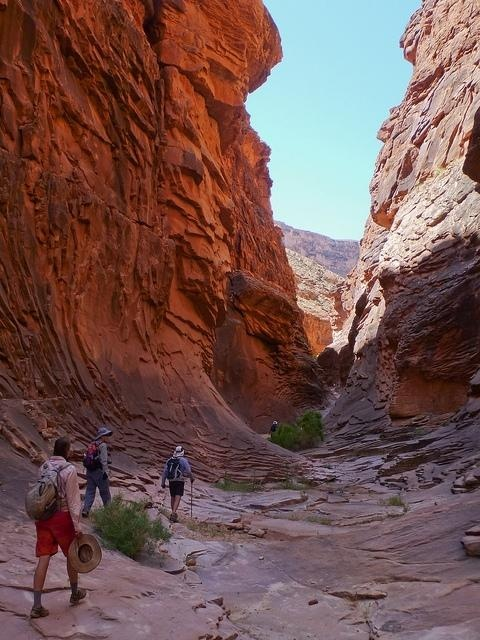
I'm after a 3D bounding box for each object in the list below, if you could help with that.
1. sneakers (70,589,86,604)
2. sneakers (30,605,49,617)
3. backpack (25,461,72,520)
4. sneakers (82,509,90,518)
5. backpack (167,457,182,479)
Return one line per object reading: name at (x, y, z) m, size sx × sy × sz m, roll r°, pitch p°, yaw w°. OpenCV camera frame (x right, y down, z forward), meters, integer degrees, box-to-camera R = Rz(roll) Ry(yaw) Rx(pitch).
sneakers at (-1.361, 2.328, 5.201) m, size 0.069 × 0.082 × 0.199 m, roll 4°, pitch 9°, yaw 6°
sneakers at (-1.573, 2.295, 4.847) m, size 0.063 × 0.067 × 0.147 m, roll -2°, pitch -9°, yaw 34°
backpack at (-1.596, 1.425, 5.018) m, size 0.288 × 0.417 × 0.449 m, roll -7°, pitch -5°, yaw 20°
sneakers at (-1.920, 2.406, 7.620) m, size 0.082 × 0.108 × 0.104 m, roll -3°, pitch -12°, yaw -11°
backpack at (-1.045, 2.376, 9.810) m, size 0.269 × 0.351 × 0.200 m, roll -7°, pitch -27°, yaw 11°
